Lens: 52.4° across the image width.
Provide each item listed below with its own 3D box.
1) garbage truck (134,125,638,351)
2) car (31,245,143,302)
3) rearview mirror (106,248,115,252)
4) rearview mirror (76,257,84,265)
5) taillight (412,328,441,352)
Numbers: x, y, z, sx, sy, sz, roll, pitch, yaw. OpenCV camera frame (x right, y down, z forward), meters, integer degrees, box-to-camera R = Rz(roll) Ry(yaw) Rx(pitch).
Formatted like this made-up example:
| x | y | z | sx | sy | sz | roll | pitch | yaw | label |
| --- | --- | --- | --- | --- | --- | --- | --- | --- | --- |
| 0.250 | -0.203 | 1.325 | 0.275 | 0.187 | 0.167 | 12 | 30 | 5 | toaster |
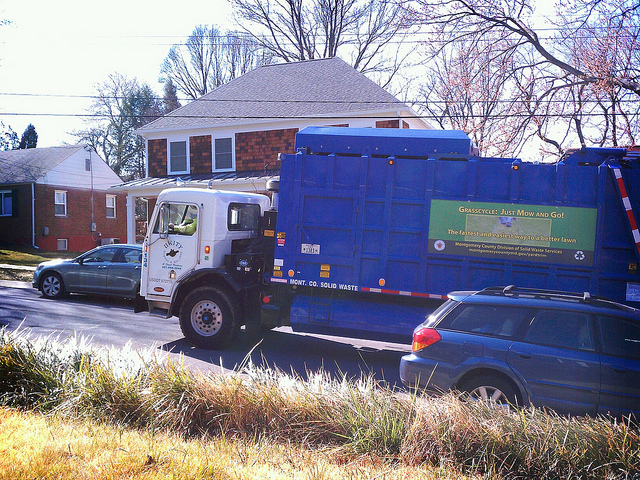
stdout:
| x | y | z | sx | sy | sz | roll | pitch | yaw | label |
| --- | --- | --- | --- | --- | --- | --- | --- | --- | --- |
| 1.971 | 0.073 | 13.435 | 10.087 | 5.475 | 3.836 | 2 | 1 | 18 | garbage truck |
| -5.498 | 0.880 | 16.685 | 3.737 | 1.404 | 1.658 | 1 | -4 | 18 | car |
| -5.281 | 0.265 | 16.261 | 0.277 | 0.116 | 0.048 | 6 | 8 | 35 | rearview mirror |
| -6.131 | 0.525 | 16.463 | 0.178 | 0.181 | 0.047 | -1 | -23 | 14 | rearview mirror |
| 1.490 | 1.424 | 9.201 | 0.344 | 0.153 | 0.257 | 1 | -1 | 13 | taillight |
